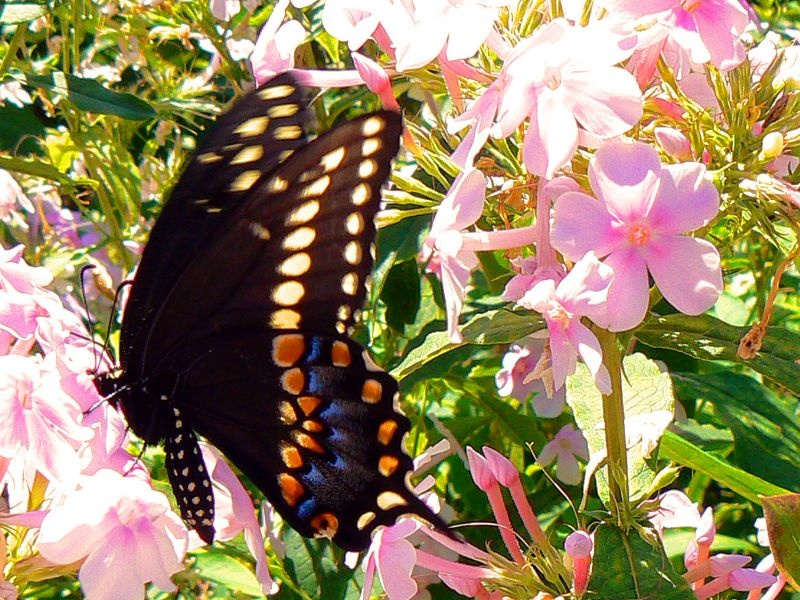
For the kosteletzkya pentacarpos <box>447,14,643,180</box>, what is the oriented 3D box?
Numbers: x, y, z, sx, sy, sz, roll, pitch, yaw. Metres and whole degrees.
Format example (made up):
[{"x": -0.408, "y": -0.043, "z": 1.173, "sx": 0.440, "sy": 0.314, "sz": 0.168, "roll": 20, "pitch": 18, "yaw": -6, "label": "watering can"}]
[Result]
[{"x": 0.216, "y": -0.272, "z": 1.182, "sx": 0.198, "sy": 0.202, "sz": 0.051, "roll": -13, "pitch": -17, "yaw": 16, "label": "kosteletzkya pentacarpos"}]

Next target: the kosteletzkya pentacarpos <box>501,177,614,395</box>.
[{"x": 0.227, "y": -0.030, "z": 1.296, "sx": 0.137, "sy": 0.353, "sz": 0.316, "roll": 1, "pitch": -8, "yaw": 8, "label": "kosteletzkya pentacarpos"}]

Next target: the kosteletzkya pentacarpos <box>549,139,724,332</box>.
[{"x": 0.329, "y": -0.095, "z": 1.267, "sx": 0.236, "sy": 0.258, "sz": 0.067, "roll": -5, "pitch": 10, "yaw": -2, "label": "kosteletzkya pentacarpos"}]

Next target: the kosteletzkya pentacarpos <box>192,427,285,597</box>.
[{"x": -0.254, "y": 0.336, "z": 1.411, "sx": 0.099, "sy": 0.262, "sz": 0.099, "roll": -4, "pitch": 16, "yaw": -19, "label": "kosteletzkya pentacarpos"}]
